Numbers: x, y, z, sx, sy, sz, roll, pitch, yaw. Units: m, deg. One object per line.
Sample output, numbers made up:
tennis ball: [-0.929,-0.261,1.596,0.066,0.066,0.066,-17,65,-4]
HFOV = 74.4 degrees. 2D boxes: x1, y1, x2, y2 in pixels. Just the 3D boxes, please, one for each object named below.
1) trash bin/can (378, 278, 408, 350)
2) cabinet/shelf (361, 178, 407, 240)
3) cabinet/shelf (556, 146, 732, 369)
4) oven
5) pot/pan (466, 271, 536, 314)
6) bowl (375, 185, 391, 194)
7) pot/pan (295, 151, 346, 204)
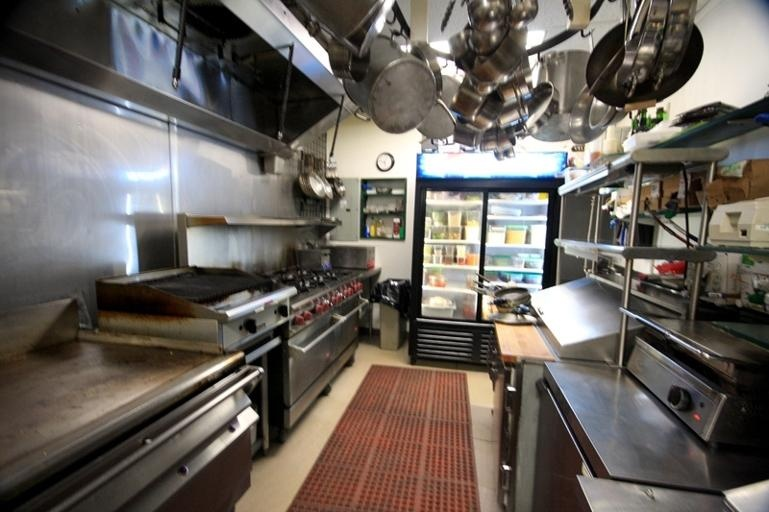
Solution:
trash bin/can: [0.103,0.609,5.332,0.315,0.715,0.387,0,3,1]
cabinet/shelf: [0.006,-0.537,5.658,0.635,0.868,0.242,0,1,2]
cabinet/shelf: [1.531,0.020,2.954,0.481,1.161,1.284,-1,11,1]
oven: [-0.645,0.656,4.239,0.727,0.970,1.464,5,12,17]
pot/pan: [0.881,0.274,3.751,0.395,0.243,0.350,2,3,32]
bowl: [-0.009,-0.750,5.636,0.161,0.099,0.131,0,3,4]
pot/pan: [-0.672,-0.774,5.058,0.083,0.485,0.314,-14,-10,26]
